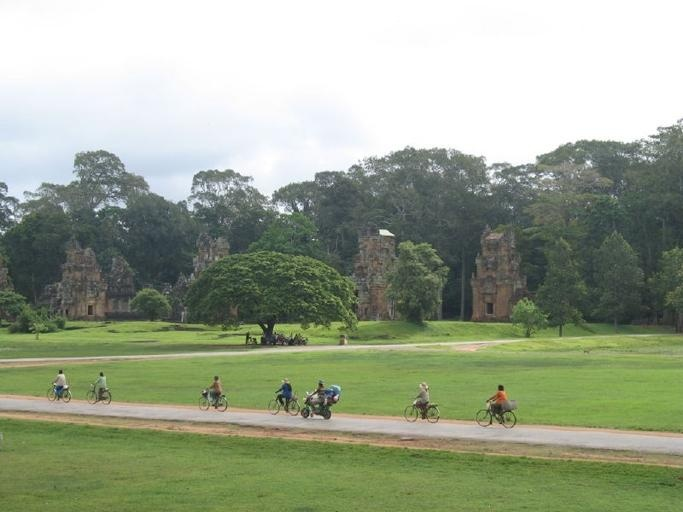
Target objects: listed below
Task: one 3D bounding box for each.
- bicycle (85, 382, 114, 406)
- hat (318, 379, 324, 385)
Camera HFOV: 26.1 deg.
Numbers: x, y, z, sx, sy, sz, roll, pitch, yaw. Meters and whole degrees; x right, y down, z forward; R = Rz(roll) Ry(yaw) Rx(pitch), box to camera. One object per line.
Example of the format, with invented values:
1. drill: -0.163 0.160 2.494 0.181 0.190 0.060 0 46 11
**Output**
1. bicycle: -21.591 12.690 130.994 2.711 1.509 1.327 3 3 32
2. hat: -1.706 11.144 126.904 0.430 0.390 0.529 1 6 -7
